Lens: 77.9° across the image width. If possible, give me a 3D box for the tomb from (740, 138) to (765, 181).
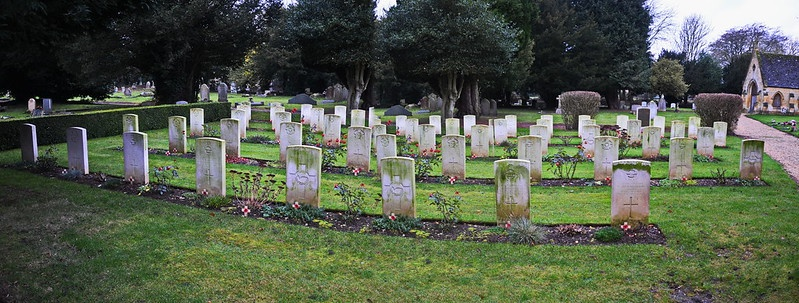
[{"bbox_3d":[24.198,0.576,33.959,1.450,2.751,0.489,2,6,-8],"label":"tomb"}]
